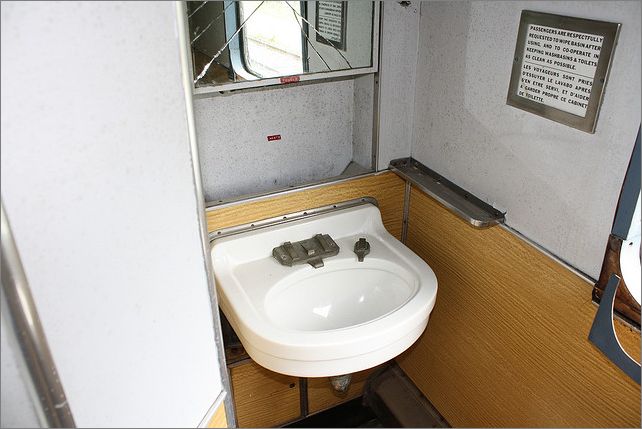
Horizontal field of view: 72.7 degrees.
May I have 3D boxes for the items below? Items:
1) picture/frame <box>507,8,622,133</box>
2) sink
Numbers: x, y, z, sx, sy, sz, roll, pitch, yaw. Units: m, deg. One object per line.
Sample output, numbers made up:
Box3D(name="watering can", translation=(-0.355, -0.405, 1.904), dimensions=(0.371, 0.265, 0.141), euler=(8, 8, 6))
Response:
Box3D(name="picture/frame", translation=(0.629, -0.372, 1.110), dimensions=(0.042, 0.270, 0.296), euler=(-15, 39, -28))
Box3D(name="sink", translation=(0.022, 0.233, 1.444), dimensions=(0.649, 0.240, 0.554), euler=(-16, 33, -22))
